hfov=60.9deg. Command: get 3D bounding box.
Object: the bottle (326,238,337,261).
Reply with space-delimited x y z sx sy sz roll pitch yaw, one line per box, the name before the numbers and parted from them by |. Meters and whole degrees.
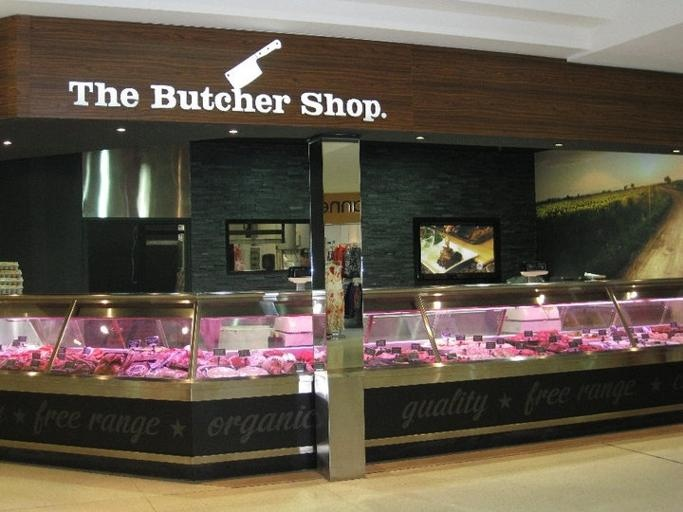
bottle | -0.075 -0.052 4.512 0.088 0.156 0.008 -1 3 8
